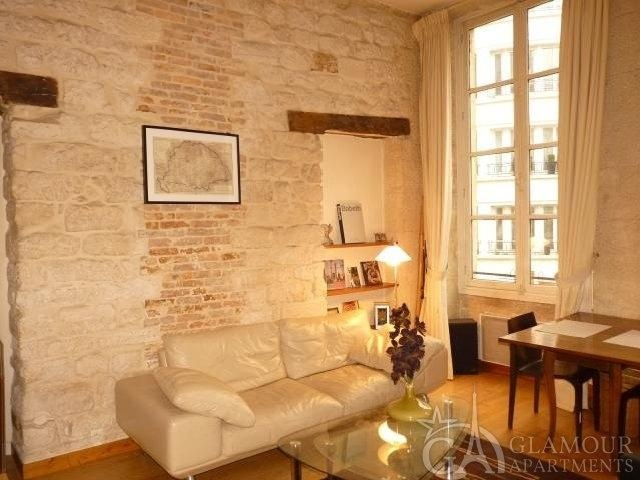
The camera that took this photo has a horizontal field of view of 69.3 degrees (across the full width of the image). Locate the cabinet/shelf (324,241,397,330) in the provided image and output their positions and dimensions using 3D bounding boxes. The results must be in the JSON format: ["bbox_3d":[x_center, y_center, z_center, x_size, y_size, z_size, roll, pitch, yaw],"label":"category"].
[{"bbox_3d":[0.588,0.451,5.738,1.017,0.772,0.312,-3,13,42],"label":"cabinet/shelf"}]

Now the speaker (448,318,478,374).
[{"bbox_3d":[1.674,1.261,5.441,0.314,0.627,0.161,-3,3,6],"label":"speaker"}]

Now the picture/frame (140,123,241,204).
[{"bbox_3d":[-1.187,-0.690,4.340,0.035,0.669,1.065,9,11,37],"label":"picture/frame"}]
